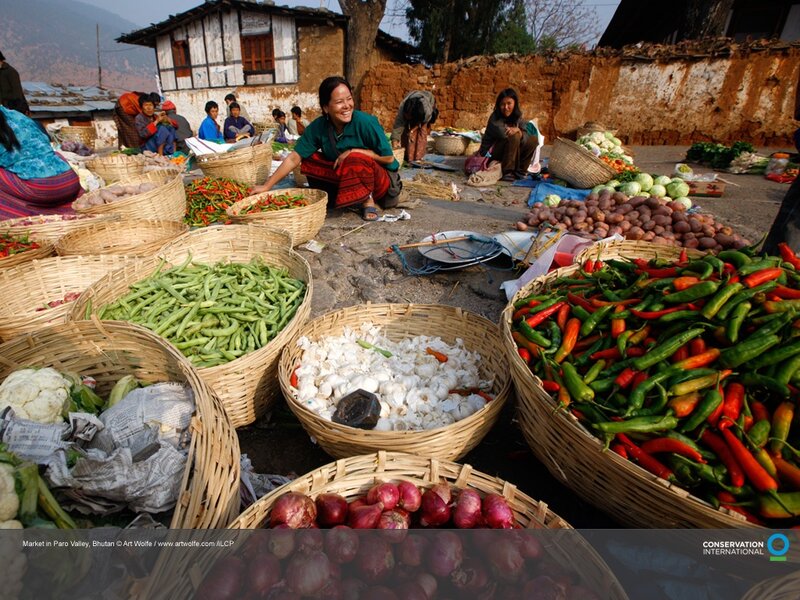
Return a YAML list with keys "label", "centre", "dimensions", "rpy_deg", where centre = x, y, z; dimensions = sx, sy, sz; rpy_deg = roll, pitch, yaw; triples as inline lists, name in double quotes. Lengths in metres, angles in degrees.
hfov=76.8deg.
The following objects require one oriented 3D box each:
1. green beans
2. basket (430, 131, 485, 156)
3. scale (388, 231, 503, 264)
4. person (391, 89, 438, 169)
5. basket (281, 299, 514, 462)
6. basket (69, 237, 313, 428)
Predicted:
- label: "green beans"
  centre: [-1.408, 0.079, 3.694]
  dimensions: [1.322, 0.700, 0.614]
  rpy_deg: [-1, 15, -14]
- label: "basket"
  centre: [1.146, -3.332, 10.794]
  dimensions: [0.721, 0.255, 0.695]
  rpy_deg: [9, 29, 18]
- label: "scale"
  centre: [0.499, -0.454, 4.406]
  dimensions: [0.621, 0.170, 0.678]
  rpy_deg: [-22, 37, -40]
- label: "person"
  centre: [0.458, -3.161, 9.224]
  dimensions: [0.856, 1.576, 0.803]
  rpy_deg: [-4, 22, -30]
- label: "basket"
  centre: [-0.037, 0.446, 3.125]
  dimensions: [1.360, 0.468, 1.290]
  rpy_deg: [19, 32, 26]
- label: "basket"
  centre: [-1.234, -0.143, 3.413]
  dimensions: [1.317, 0.536, 1.444]
  rpy_deg: [15, 30, 0]
